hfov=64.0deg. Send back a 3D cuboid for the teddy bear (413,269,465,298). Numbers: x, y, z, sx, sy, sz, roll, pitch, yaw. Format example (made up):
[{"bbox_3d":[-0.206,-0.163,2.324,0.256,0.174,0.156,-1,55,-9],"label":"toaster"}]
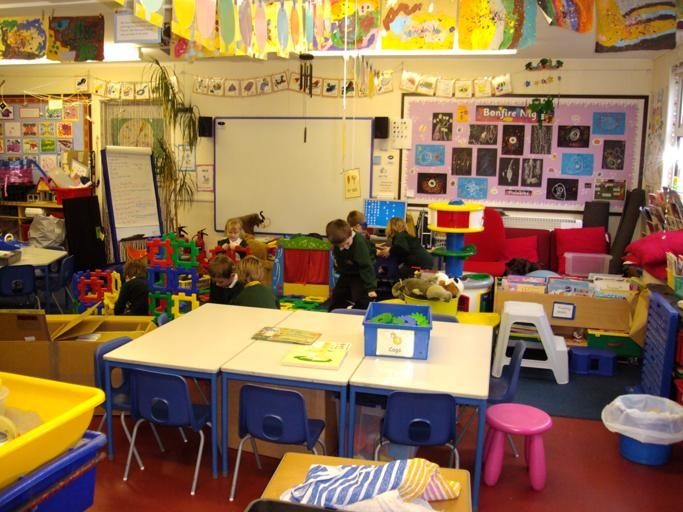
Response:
[{"bbox_3d":[0.802,0.206,4.449,0.246,0.102,0.251,28,8,29],"label":"teddy bear"}]

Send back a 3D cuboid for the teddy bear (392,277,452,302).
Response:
[{"bbox_3d":[0.674,0.278,4.412,0.185,0.156,0.373,-3,12,-42],"label":"teddy bear"}]

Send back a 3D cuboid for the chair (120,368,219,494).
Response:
[{"bbox_3d":[-1.123,1.002,3.424,0.669,0.754,0.418,5,12,24],"label":"chair"}]

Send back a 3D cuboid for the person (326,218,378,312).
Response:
[{"bbox_3d":[0.093,0.104,5.002,0.420,0.895,0.420,0,11,2],"label":"person"}]

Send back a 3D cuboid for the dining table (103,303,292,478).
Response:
[{"bbox_3d":[-0.939,0.510,3.561,0.809,0.730,1.466,3,8,10],"label":"dining table"}]

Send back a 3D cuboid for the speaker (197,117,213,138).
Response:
[{"bbox_3d":[-1.912,-1.809,7.786,0.247,0.245,0.062,-1,7,1],"label":"speaker"}]

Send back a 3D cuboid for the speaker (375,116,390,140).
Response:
[{"bbox_3d":[0.531,-1.679,7.202,0.263,0.387,0.190,0,7,10],"label":"speaker"}]

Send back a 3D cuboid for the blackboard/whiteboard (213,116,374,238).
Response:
[{"bbox_3d":[-0.578,-1.111,7.468,1.716,1.295,0.059,2,9,9],"label":"blackboard/whiteboard"}]

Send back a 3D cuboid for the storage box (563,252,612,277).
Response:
[{"bbox_3d":[2.815,0.070,6.335,0.428,0.207,0.300,3,4,22],"label":"storage box"}]

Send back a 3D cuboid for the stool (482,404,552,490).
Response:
[{"bbox_3d":[1.078,1.175,3.522,0.452,0.487,0.446,1,6,16],"label":"stool"}]

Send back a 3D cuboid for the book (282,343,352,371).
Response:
[{"bbox_3d":[-0.145,0.599,3.314,0.340,0.035,0.389,2,11,13],"label":"book"}]

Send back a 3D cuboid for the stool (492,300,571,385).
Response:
[{"bbox_3d":[1.656,0.709,4.910,0.647,0.646,0.675,-2,7,11],"label":"stool"}]
